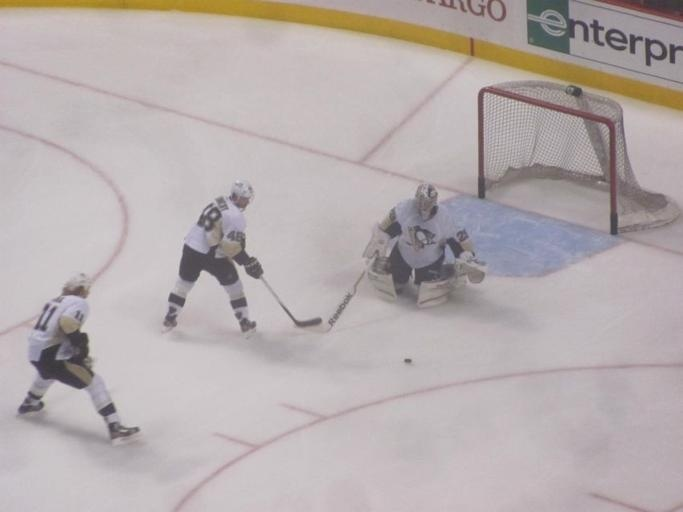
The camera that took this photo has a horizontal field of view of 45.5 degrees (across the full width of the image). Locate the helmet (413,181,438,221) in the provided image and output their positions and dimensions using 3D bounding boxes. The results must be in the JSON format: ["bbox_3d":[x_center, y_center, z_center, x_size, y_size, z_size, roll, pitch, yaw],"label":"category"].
[{"bbox_3d":[0.670,-0.431,6.495,0.177,0.298,0.197,0,20,3],"label":"helmet"}]

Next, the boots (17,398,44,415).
[{"bbox_3d":[-2.261,1.093,5.893,0.190,0.078,0.093,5,17,-24],"label":"boots"}]

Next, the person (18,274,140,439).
[{"bbox_3d":[-1.961,0.799,6.040,0.885,0.850,0.459,23,32,26],"label":"person"}]

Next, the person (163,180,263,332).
[{"bbox_3d":[-1.085,0.057,6.831,0.700,1.200,0.616,-19,58,-36],"label":"person"}]

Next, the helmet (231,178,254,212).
[{"bbox_3d":[-0.822,-0.510,6.419,0.225,0.259,0.199,-4,47,-16],"label":"helmet"}]

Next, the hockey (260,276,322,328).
[{"bbox_3d":[-0.417,0.319,6.747,0.492,0.448,0.435,-2,19,-3],"label":"hockey"}]

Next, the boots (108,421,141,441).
[{"bbox_3d":[-1.533,1.207,5.708,0.221,0.136,0.102,-9,15,-10],"label":"boots"}]

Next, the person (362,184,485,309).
[{"bbox_3d":[0.685,-0.038,6.901,1.030,0.947,0.558,9,53,9],"label":"person"}]

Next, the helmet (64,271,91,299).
[{"bbox_3d":[-1.883,0.200,5.726,0.192,0.179,0.146,3,54,-8],"label":"helmet"}]

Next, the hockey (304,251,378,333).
[{"bbox_3d":[-0.009,0.331,6.889,0.118,0.113,0.767,19,65,44],"label":"hockey"}]

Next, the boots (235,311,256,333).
[{"bbox_3d":[-0.767,0.528,6.512,0.093,0.150,0.231,0,20,23],"label":"boots"}]
